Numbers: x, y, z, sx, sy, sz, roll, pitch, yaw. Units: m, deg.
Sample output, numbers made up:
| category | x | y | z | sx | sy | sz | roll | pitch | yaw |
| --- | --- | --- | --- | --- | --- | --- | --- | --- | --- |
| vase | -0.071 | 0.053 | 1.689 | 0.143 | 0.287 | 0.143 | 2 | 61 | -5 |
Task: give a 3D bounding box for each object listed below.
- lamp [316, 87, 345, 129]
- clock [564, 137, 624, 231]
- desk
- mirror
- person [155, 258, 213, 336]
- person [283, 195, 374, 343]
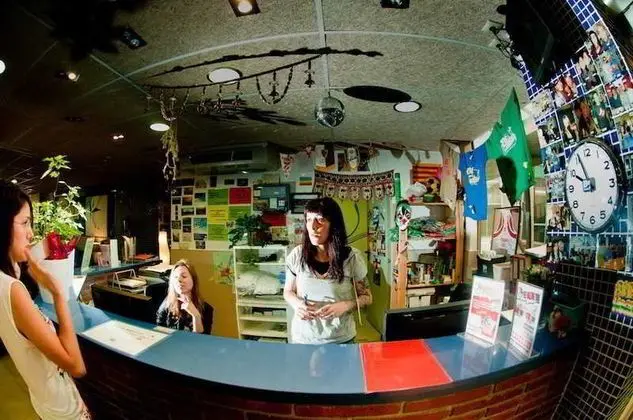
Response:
| category | x | y | z | sx | sy | sz | roll | pitch | yaw |
| --- | --- | --- | --- | --- | --- | --- | --- | --- | --- |
| lamp | 0.113 | -1.083 | 4.481 | 0.342 | 0.453 | 0.332 | 0 | -1 | -7 |
| clock | 2.433 | -0.218 | 3.700 | 0.054 | 0.806 | 0.397 | 2 | -3 | -36 |
| desk | -2.212 | 0.972 | 5.202 | 0.851 | 0.604 | 0.880 | 1 | 5 | -2 |
| mirror | 1.719 | 0.490 | 6.218 | 0.837 | 1.204 | 0.661 | 0 | -2 | 5 |
| person | -1.408 | 1.118 | 4.613 | 0.587 | 1.020 | 0.616 | 4 | -8 | -14 |
| person | 0.108 | 0.611 | 4.198 | 0.853 | 1.459 | 0.475 | 1 | -2 | -6 |
